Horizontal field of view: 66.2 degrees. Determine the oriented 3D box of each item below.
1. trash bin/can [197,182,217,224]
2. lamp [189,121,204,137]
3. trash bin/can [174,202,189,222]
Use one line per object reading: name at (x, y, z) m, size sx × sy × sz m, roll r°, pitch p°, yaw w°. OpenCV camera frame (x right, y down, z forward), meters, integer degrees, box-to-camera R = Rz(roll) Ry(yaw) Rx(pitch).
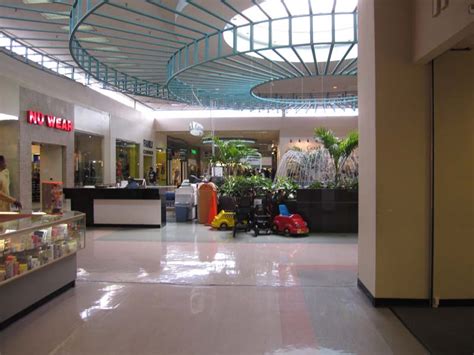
trash bin/can at (-0.801, 0.740, 10.356) m, size 0.537 × 1.082 × 0.842 m, roll -4°, pitch 8°, yaw -27°
lamp at (-1.790, -2.200, 15.996) m, size 0.661 × 0.791 × 0.916 m, roll 0°, pitch -13°, yaw -3°
trash bin/can at (-1.638, 1.033, 11.006) m, size 0.415 × 0.648 × 0.511 m, roll 0°, pitch -4°, yaw -2°
